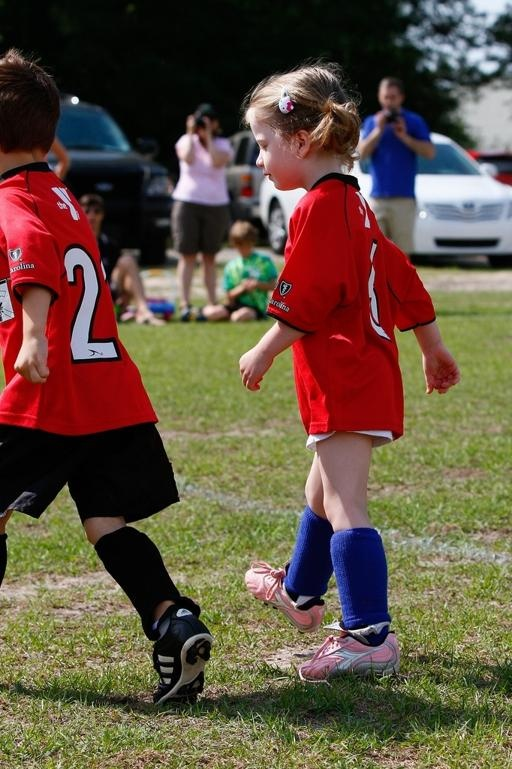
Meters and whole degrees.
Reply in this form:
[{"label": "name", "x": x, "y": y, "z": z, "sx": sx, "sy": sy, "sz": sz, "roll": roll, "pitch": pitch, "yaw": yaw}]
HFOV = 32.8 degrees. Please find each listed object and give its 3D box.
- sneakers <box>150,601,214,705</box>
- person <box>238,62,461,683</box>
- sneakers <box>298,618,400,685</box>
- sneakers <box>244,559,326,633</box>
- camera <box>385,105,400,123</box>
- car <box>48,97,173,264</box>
[{"label": "sneakers", "x": -0.158, "y": 0.520, "z": 1.704, "sx": 0.081, "sy": 0.216, "sz": 0.112, "roll": -8, "pitch": 38, "yaw": -36}, {"label": "person", "x": 0.168, "y": -0.066, "z": 1.939, "sx": 0.481, "sy": 1.381, "sz": 0.490, "roll": 0, "pitch": 6, "yaw": 10}, {"label": "sneakers", "x": 0.194, "y": 0.569, "z": 1.847, "sx": 0.271, "sy": 0.103, "sz": 0.092, "roll": -4, "pitch": -2, "yaw": -1}, {"label": "sneakers", "x": 0.062, "y": 0.516, "z": 2.102, "sx": 0.237, "sy": 0.097, "sz": 0.114, "roll": 39, "pitch": -12, "yaw": 17}, {"label": "camera", "x": 1.113, "y": -2.178, "z": 7.045, "sx": 0.140, "sy": 0.112, "sz": 0.122, "roll": 4, "pitch": -9, "yaw": 4}, {"label": "car", "x": -1.471, "y": -2.646, "z": 11.414, "sx": 1.940, "sy": 1.729, "sz": 3.424, "roll": -1, "pitch": 10, "yaw": -19}]
